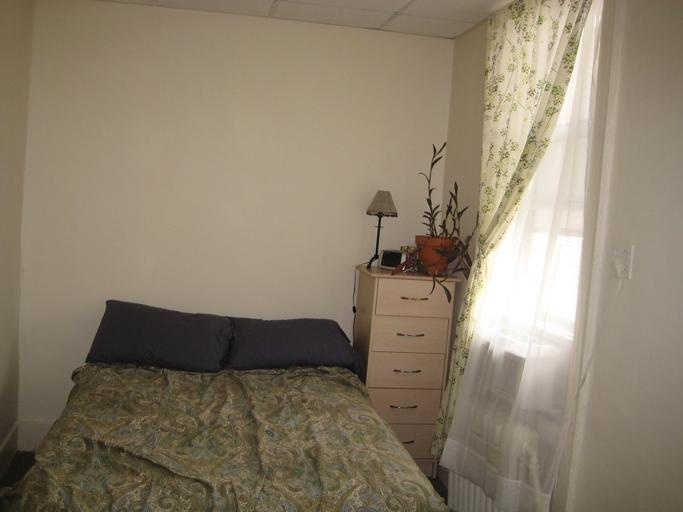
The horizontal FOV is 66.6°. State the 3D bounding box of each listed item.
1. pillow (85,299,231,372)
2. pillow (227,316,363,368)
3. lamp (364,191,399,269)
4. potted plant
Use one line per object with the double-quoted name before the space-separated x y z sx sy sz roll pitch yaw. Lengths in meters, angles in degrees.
"pillow" -1.106 0.508 3.233 0.822 0.310 0.267 6 1 -2
"pillow" -0.327 0.565 3.300 0.597 0.180 0.394 4 15 -9
"lamp" 0.273 -0.188 3.699 0.228 0.510 0.332 5 1 4
"potted plant" 0.698 -0.355 3.648 0.361 0.938 0.535 5 1 -5
